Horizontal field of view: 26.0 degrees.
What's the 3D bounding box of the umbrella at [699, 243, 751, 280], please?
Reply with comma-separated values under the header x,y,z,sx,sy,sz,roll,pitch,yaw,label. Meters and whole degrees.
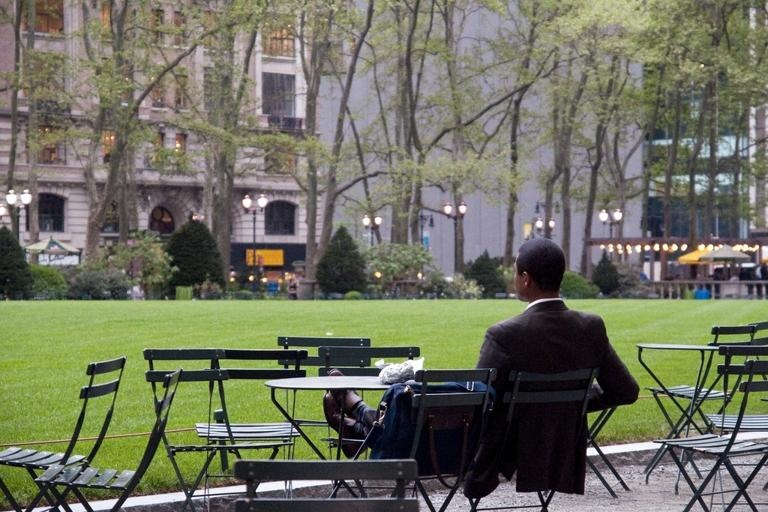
x,y,z,sx,sy,sz,roll,pitch,yaw,label
22.788,0.616,110.012,2.762,2.085,2.706,-1,2,-32,umbrella
